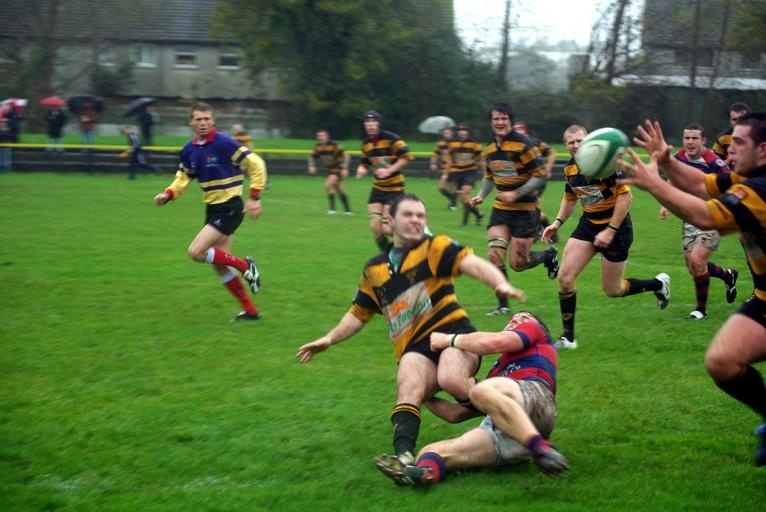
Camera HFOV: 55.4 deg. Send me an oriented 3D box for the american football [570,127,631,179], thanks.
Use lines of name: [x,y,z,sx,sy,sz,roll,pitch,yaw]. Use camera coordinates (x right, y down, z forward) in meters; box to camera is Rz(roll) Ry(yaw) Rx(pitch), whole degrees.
american football: [1.950,-0.882,6.390,0.373,0.515,0.387,47,-7,45]

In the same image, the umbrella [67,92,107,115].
umbrella: [-10.333,-5.273,25.295,0.982,0.675,1.198,-5,11,-44]

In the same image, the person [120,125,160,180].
person: [-7.746,-3.143,22.867,1.342,1.951,0.898,0,1,-33]

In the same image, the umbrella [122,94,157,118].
umbrella: [-8.359,-5.048,24.774,0.785,0.626,1.583,0,8,-23]
